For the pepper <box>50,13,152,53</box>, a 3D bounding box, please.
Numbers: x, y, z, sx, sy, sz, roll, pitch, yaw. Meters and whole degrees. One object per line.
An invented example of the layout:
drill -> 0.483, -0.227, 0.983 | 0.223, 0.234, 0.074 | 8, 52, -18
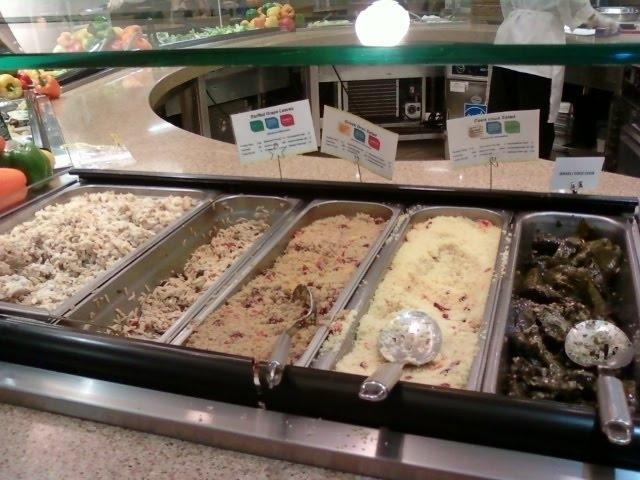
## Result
pepper -> -0.462, -0.446, 1.004 | 0.242, 0.060, 0.152 | 0, 28, 6
